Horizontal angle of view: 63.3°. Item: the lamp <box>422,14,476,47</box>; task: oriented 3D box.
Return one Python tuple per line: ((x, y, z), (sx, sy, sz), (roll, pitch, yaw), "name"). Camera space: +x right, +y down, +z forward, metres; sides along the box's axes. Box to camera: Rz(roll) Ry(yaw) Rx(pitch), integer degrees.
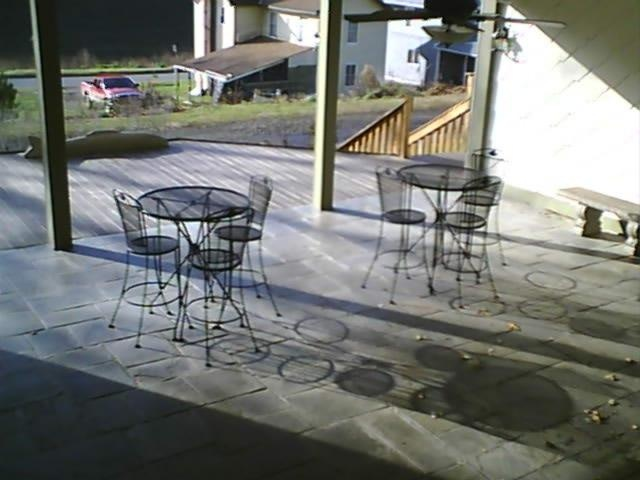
((0.985, -1.584, 3.934), (0.312, 0.113, 0.246), (-1, 22, -16), "lamp")
